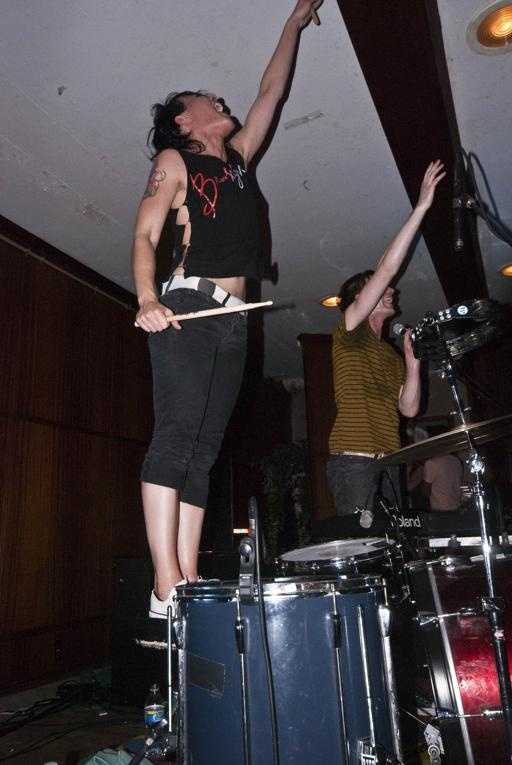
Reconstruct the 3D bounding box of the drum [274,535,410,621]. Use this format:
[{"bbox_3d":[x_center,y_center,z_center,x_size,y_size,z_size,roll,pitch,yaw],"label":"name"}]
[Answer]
[{"bbox_3d":[0.208,0.466,1.502,0.296,0.222,0.300,-4,-14,-1],"label":"drum"}]
